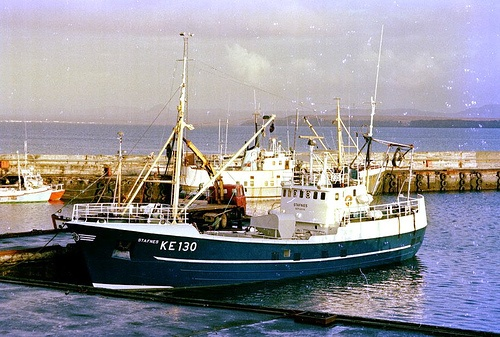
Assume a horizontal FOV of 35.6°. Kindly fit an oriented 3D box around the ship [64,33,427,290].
[{"bbox_3d":[0.788,1.600,46.184,23.408,9.239,6.332,-1,2,-30],"label":"ship"}]

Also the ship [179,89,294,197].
[{"bbox_3d":[-0.788,-0.846,69.458,12.477,8.515,3.841,-5,6,-37],"label":"ship"}]

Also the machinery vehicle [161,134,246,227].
[{"bbox_3d":[-3.117,1.070,52.045,3.004,5.623,8.766,0,-4,29],"label":"machinery vehicle"}]
